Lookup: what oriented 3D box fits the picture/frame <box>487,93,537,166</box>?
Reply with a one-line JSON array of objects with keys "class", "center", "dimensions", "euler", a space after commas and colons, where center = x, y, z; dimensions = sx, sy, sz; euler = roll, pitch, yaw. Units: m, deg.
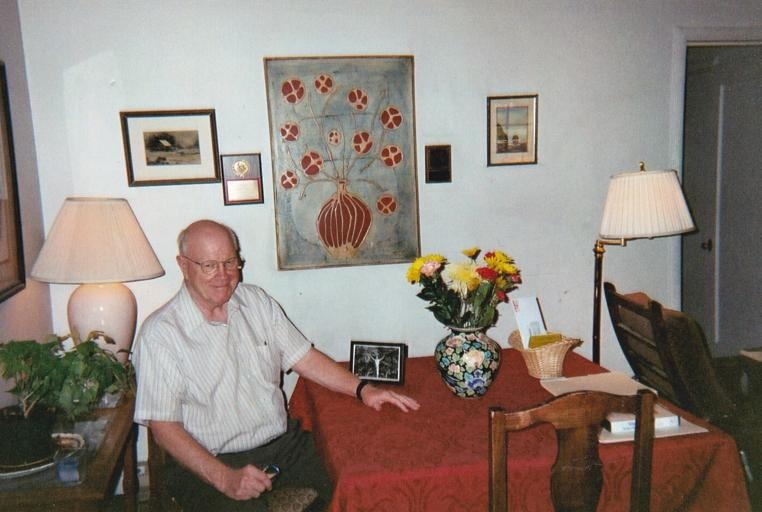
[{"class": "picture/frame", "center": [0.782, -0.800, 3.757], "dimensions": [0.404, 0.552, 0.036], "euler": [-2, 6, -3]}]

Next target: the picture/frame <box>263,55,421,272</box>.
[{"class": "picture/frame", "center": [-0.267, -0.605, 3.640], "dimensions": [1.174, 1.613, 0.064], "euler": [-2, 7, -4]}]

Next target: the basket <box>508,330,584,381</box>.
[{"class": "basket", "center": [0.914, 0.527, 3.359], "dimensions": [0.424, 0.241, 0.368], "euler": [-1, -1, -7]}]

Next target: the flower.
[{"class": "flower", "center": [0.394, 0.210, 3.191], "dimensions": [0.629, 0.409, 0.502], "euler": [-1, 0, 28]}]

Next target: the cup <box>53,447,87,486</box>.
[{"class": "cup", "center": [-1.375, 0.926, 2.708], "dimensions": [0.106, 0.145, 0.052], "euler": [0, -27, -10]}]

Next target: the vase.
[{"class": "vase", "center": [0.455, 0.529, 3.213], "dimensions": [0.331, 0.367, 0.370], "euler": [-2, 10, 21]}]

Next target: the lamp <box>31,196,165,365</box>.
[{"class": "lamp", "center": [-1.682, 0.086, 3.734], "dimensions": [0.788, 1.226, 0.848], "euler": [-3, 6, -38]}]

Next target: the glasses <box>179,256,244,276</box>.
[{"class": "glasses", "center": [-0.841, 0.034, 3.059], "dimensions": [0.278, 0.088, 0.136], "euler": [-5, 10, -23]}]

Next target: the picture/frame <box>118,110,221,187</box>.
[{"class": "picture/frame", "center": [-1.247, -0.642, 3.547], "dimensions": [0.409, 0.346, 0.033], "euler": [-2, 6, -8]}]
